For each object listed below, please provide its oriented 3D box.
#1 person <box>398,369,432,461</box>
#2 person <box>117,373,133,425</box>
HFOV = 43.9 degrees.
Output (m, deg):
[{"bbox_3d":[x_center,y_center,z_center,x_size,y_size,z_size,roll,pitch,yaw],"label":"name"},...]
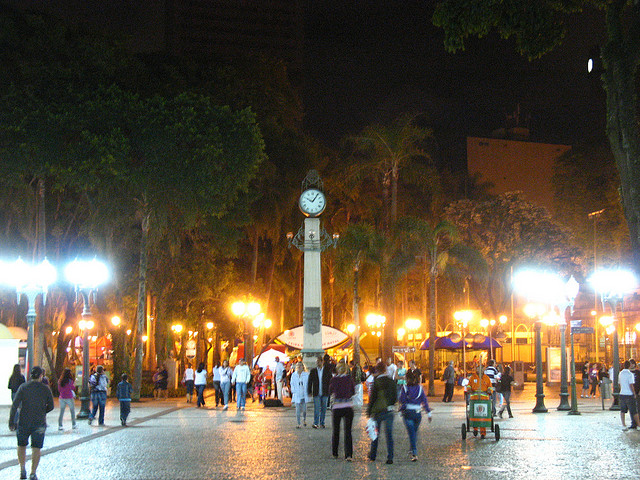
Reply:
[{"bbox_3d":[2.688,4.983,22.607,0.840,2.520,1.416,-2,-13,7],"label":"person"},{"bbox_3d":[-7.224,5.867,29.127,0.478,1.873,1.202,2,-13,-14],"label":"person"}]
